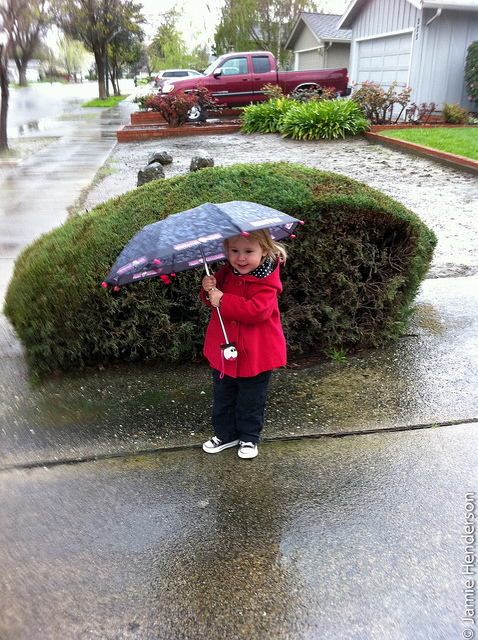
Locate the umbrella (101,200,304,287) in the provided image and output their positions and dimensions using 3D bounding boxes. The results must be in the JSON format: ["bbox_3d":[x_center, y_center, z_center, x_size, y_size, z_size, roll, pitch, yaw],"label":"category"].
[{"bbox_3d":[-0.187,-0.330,2.414,0.674,0.393,0.751,-18,26,-38],"label":"umbrella"}]

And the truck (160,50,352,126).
[{"bbox_3d":[0.380,-7.181,16.115,5.695,2.218,2.842,-4,21,-6],"label":"truck"}]

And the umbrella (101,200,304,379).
[{"bbox_3d":[-0.184,-0.099,2.562,0.831,0.929,0.797,6,23,18],"label":"umbrella"}]

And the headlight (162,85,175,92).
[{"bbox_3d":[-2.172,-7.036,15.951,0.380,0.241,0.076,-1,67,8],"label":"headlight"}]
